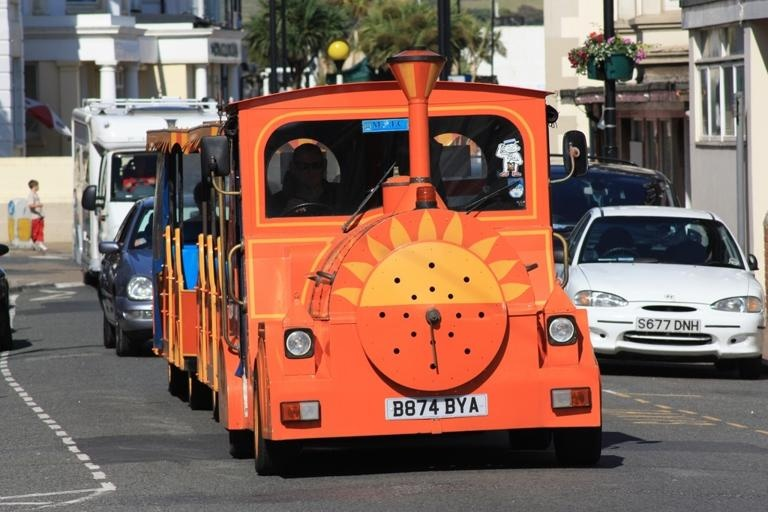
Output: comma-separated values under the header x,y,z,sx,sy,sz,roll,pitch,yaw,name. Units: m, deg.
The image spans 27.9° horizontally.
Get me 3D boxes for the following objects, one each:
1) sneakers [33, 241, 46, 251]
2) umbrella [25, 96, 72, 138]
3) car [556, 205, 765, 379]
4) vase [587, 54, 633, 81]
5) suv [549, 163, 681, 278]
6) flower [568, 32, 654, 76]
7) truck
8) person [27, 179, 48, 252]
x,y,z,sx,sy,sz,roll,pitch,yaw,name
-8.919,-0.267,40.234,0.179,0.238,0.553,-1,-4,-20,sneakers
-11.527,-4.760,53.231,1.444,1.265,1.671,-1,5,-11,umbrella
3.611,0.429,20.818,1.799,1.453,3.191,1,-5,1,car
4.234,-3.559,29.438,0.465,0.321,0.719,0,6,-9,vase
3.531,-1.011,25.267,1.561,1.250,2.590,-1,0,-4,suv
4.404,-3.905,29.518,1.153,0.593,0.974,-3,9,-25,flower
-4.659,-1.572,30.411,2.578,2.635,4.552,0,2,-11,truck
-9.005,-1.078,40.305,0.431,1.765,1.306,-1,5,-12,person
